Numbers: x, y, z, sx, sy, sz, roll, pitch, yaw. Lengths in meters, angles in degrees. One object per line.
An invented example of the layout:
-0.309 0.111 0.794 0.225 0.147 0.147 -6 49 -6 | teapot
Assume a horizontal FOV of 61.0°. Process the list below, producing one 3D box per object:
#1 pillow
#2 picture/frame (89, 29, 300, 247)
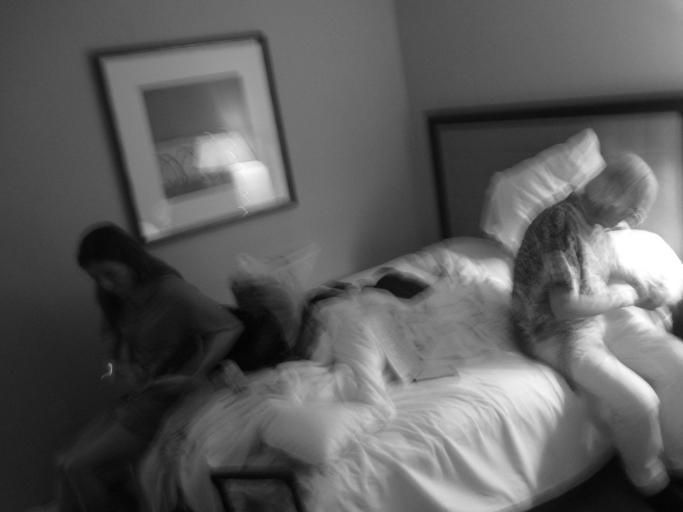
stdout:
0.764 -0.142 1.995 0.536 0.559 0.154 -39 29 -24 | pillow
-0.591 -0.461 2.205 0.681 0.761 0.054 -19 20 -23 | picture/frame
